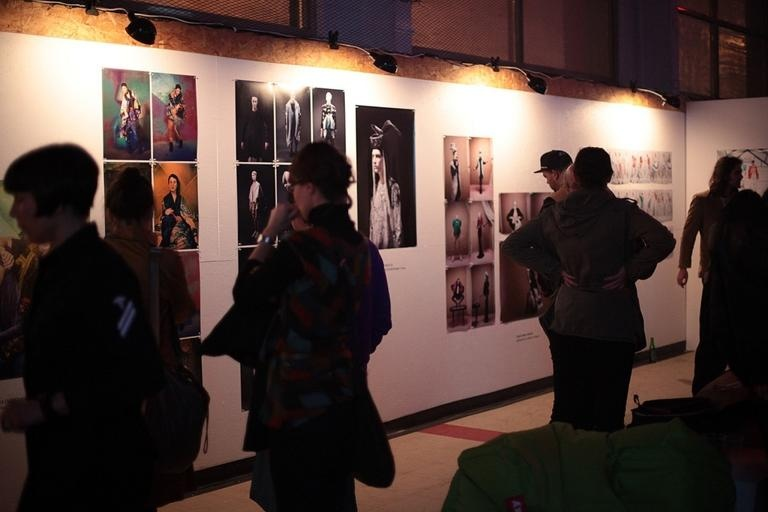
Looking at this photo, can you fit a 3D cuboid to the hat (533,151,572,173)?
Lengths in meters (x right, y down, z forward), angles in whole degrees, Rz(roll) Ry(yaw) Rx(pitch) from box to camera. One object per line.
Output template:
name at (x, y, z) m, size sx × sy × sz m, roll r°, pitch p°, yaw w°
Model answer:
hat at (1.751, -1.004, 6.117) m, size 0.429 × 0.265 × 0.325 m, roll 1°, pitch 11°, yaw 42°

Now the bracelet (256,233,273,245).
bracelet at (-0.586, -0.084, 2.815) m, size 0.073 × 0.034 × 0.081 m, roll 1°, pitch 9°, yaw -15°

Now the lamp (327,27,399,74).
lamp at (-0.119, -1.819, 5.137) m, size 0.777 × 0.512 × 0.272 m, roll 4°, pitch 13°, yaw 19°

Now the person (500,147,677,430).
person at (1.336, 0.184, 3.729) m, size 0.953 × 1.747 × 0.576 m, roll 3°, pitch 9°, yaw 28°

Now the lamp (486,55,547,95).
lamp at (1.569, -1.984, 6.323) m, size 0.964 × 0.372 × 0.381 m, roll -10°, pitch 12°, yaw -39°

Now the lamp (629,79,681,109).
lamp at (3.718, -2.199, 7.834) m, size 0.433 × 0.115 × 0.457 m, roll 11°, pitch 3°, yaw -18°

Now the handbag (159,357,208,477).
handbag at (-0.992, 0.842, 2.854) m, size 0.241 × 0.557 × 0.341 m, roll -5°, pitch 9°, yaw -20°

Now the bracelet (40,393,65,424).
bracelet at (-1.216, 0.556, 2.114) m, size 0.066 × 0.119 × 0.035 m, roll -4°, pitch 13°, yaw 0°
